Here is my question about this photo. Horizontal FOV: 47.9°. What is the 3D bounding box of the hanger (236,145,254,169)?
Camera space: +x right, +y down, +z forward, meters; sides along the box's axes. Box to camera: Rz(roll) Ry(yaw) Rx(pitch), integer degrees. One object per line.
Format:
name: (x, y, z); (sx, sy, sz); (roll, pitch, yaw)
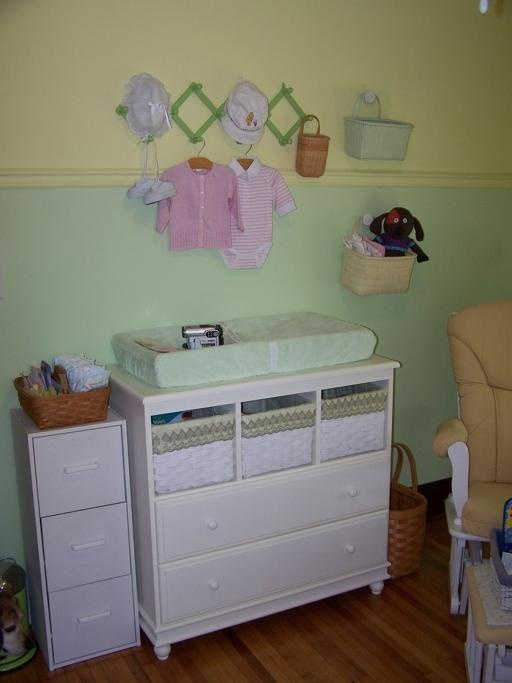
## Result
hanger: (-0.043, -0.675, 2.114); (0.103, 0.108, 0.005); (-5, 11, -33)

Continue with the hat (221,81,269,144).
hat: (-0.029, -0.791, 2.012); (0.166, 0.218, 0.074); (-4, 11, -24)

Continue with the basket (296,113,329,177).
basket: (0.240, -0.764, 2.241); (0.170, 0.240, 0.106); (-4, 8, -28)

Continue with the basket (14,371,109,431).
basket: (-0.549, 0.152, 1.647); (0.172, 0.080, 0.213); (-3, 3, -29)

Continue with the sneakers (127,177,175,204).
sneakers: (-0.356, -0.503, 1.892); (0.097, 0.042, 0.130); (-27, 42, -28)

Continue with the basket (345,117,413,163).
basket: (0.489, -0.815, 2.330); (0.250, 0.173, 0.153); (-4, 8, -26)

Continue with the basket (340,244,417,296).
basket: (0.498, -0.300, 2.403); (0.273, 0.156, 0.187); (-3, 20, -23)

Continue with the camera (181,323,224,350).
camera: (-0.176, -0.016, 1.933); (0.111, 0.077, 0.089); (-4, 11, -15)

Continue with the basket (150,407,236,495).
basket: (-0.225, 0.305, 1.808); (0.340, 0.226, 0.207); (-6, 11, -35)

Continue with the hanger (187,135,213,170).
hanger: (-0.198, -0.658, 2.024); (0.091, 0.117, 0.044); (-3, 7, -19)

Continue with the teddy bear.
teddy bear: (0.598, -0.452, 2.425); (0.270, 0.250, 0.136); (9, -20, -7)

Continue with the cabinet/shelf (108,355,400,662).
cabinet/shelf: (-0.035, 0.535, 1.853); (0.880, 0.765, 0.365); (-7, 13, -28)
